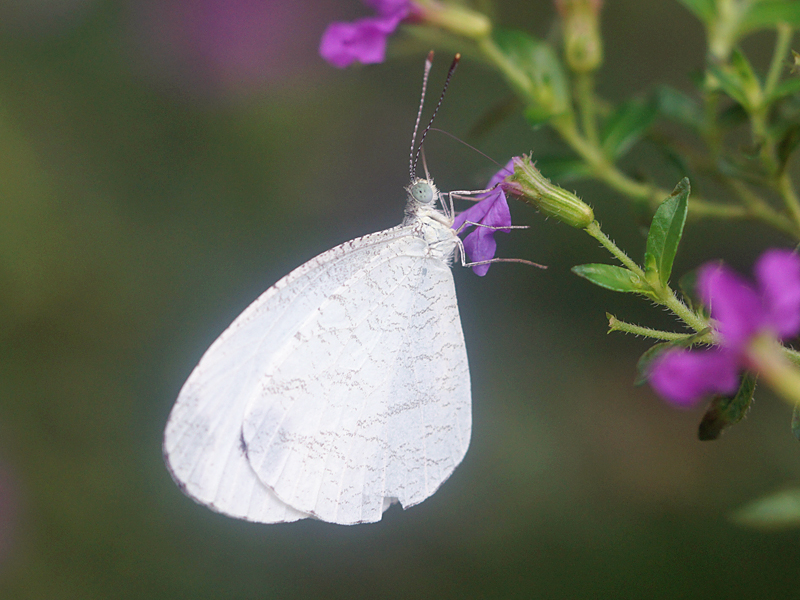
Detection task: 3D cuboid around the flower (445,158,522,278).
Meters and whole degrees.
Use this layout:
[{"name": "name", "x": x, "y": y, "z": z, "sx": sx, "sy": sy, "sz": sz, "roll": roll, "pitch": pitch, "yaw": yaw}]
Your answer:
[{"name": "flower", "x": 0.262, "y": -0.234, "z": 2.600, "sx": 0.080, "sy": 0.284, "sz": 0.321, "roll": 2, "pitch": -20, "yaw": -29}]
